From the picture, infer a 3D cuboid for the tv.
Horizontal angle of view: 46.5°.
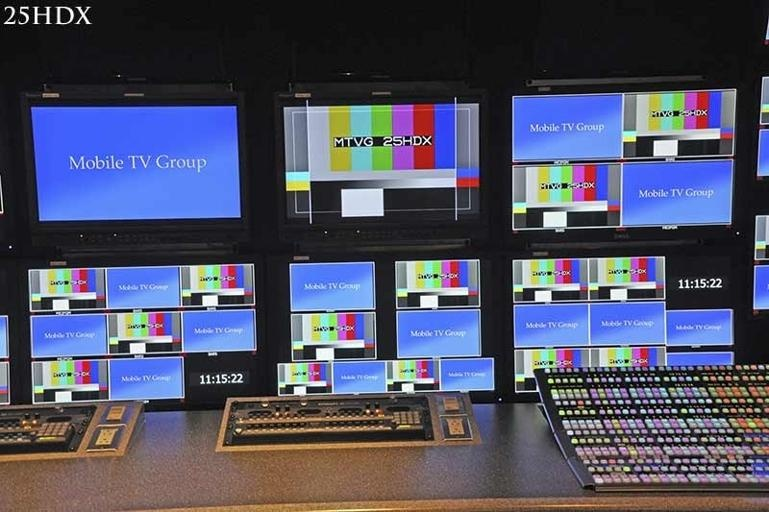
[{"bbox_3d":[0.139,-0.060,3.751,2.959,1.121,0.802,-1,-32,-1],"label":"tv"}]
